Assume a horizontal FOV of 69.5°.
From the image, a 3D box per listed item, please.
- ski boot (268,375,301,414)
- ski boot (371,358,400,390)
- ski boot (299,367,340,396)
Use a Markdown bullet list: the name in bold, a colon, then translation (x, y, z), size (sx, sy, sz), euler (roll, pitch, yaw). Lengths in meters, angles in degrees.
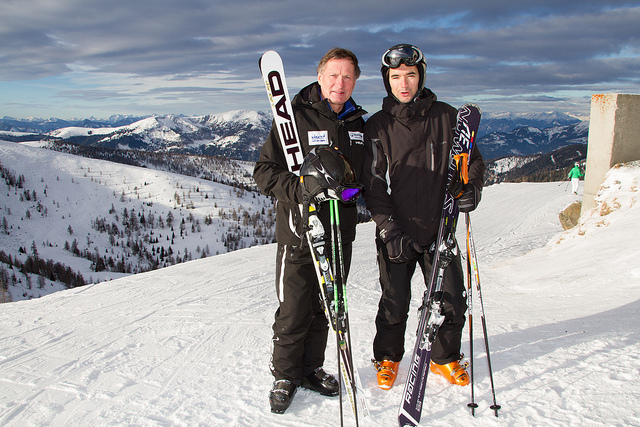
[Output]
- **ski boot**: translation (-0.491, 2.442, 6.276), size (0.216, 0.279, 0.634), euler (22, 28, -8)
- **ski boot**: translation (0.954, 2.263, 6.601), size (0.339, 0.337, 0.309), euler (-4, 12, 3)
- **ski boot**: translation (0.024, 2.353, 6.579), size (0.574, 0.251, 0.263), euler (8, -2, 33)
